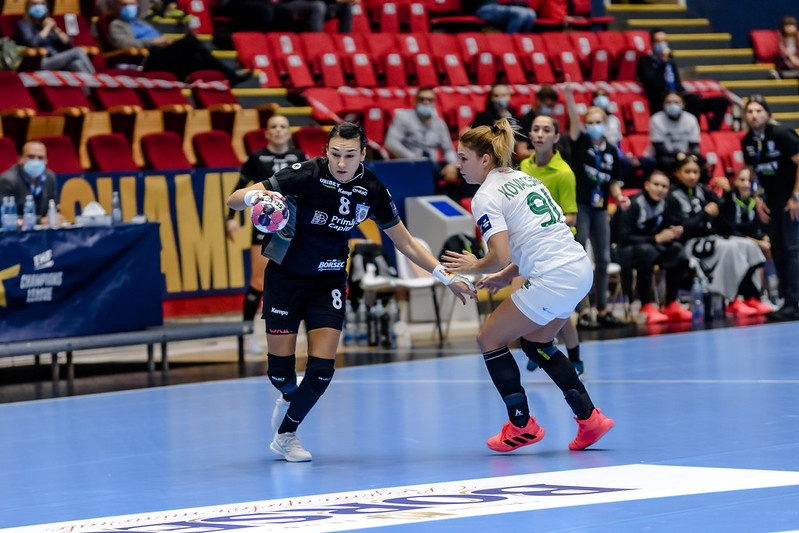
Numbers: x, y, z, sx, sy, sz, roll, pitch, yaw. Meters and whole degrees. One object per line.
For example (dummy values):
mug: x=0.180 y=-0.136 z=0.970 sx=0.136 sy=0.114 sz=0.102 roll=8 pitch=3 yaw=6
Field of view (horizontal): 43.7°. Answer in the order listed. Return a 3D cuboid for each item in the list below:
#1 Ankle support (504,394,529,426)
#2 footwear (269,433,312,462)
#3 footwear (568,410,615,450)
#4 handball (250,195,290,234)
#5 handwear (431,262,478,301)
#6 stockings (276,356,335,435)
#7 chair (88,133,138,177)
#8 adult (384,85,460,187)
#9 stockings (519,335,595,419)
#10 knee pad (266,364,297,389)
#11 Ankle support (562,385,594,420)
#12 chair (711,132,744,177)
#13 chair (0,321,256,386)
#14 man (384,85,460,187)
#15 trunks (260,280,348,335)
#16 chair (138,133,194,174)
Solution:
Ankle support: x=0.932 y=1.129 z=7.858 sx=0.183 sy=0.236 sz=0.265 roll=-19 pitch=-1 yaw=0
footwear: x=-0.868 y=1.407 z=7.890 sx=0.383 sy=0.174 sz=0.156 roll=12 pitch=9 yaw=33
footwear: x=1.502 y=1.289 z=7.860 sx=0.321 sy=0.313 sz=0.182 roll=-1 pitch=-1 yaw=-9
handball: x=-1.004 y=-0.375 z=7.686 sx=0.276 sy=0.266 sz=0.269 roll=1 pitch=15 yaw=-40
handwear: x=0.475 y=0.097 z=8.101 sx=0.209 sy=0.375 sz=0.101 roll=-52 pitch=3 yaw=45
stockings: x=-0.725 y=1.004 z=7.819 sx=0.259 sy=0.836 sz=0.366 roll=18 pitch=35 yaw=-20
chair: x=-3.935 y=-1.553 z=13.816 sx=0.636 sy=0.631 sz=0.640 roll=-3 pitch=-8 yaw=-24
adult: x=0.402 y=-2.058 z=15.924 sx=1.139 sy=1.429 sz=1.041 roll=2 pitch=4 yaw=-19
stockings: x=1.391 y=1.020 z=8.919 sx=0.224 sy=0.736 sz=0.349 roll=-41 pitch=-10 yaw=28
knee pad: x=-0.957 y=0.900 z=8.096 sx=0.175 sy=0.190 sz=0.214 roll=1 pitch=10 yaw=4
Ankle support: x=1.410 y=1.065 z=7.917 sx=0.181 sy=0.245 sz=0.254 roll=-32 pitch=13 yaw=19
chair: x=6.298 y=-2.131 z=19.035 sx=0.653 sy=0.717 sz=0.559 roll=-4 pitch=29 yaw=-18
chair: x=-2.999 y=0.968 z=11.203 sx=2.884 sy=0.561 sz=0.856 roll=-1 pitch=-1 yaw=-41
man: x=0.399 y=-2.089 z=15.921 sx=1.140 sy=1.445 sz=1.063 roll=1 pitch=5 yaw=-24
trunks: x=-0.739 y=0.347 z=7.908 sx=0.681 sy=0.512 sz=0.388 roll=0 pitch=-4 yaw=-11
chair: x=-3.280 y=-1.577 z=14.244 sx=0.787 sy=0.729 sz=0.602 roll=-2 pitch=-4 yaw=-36
